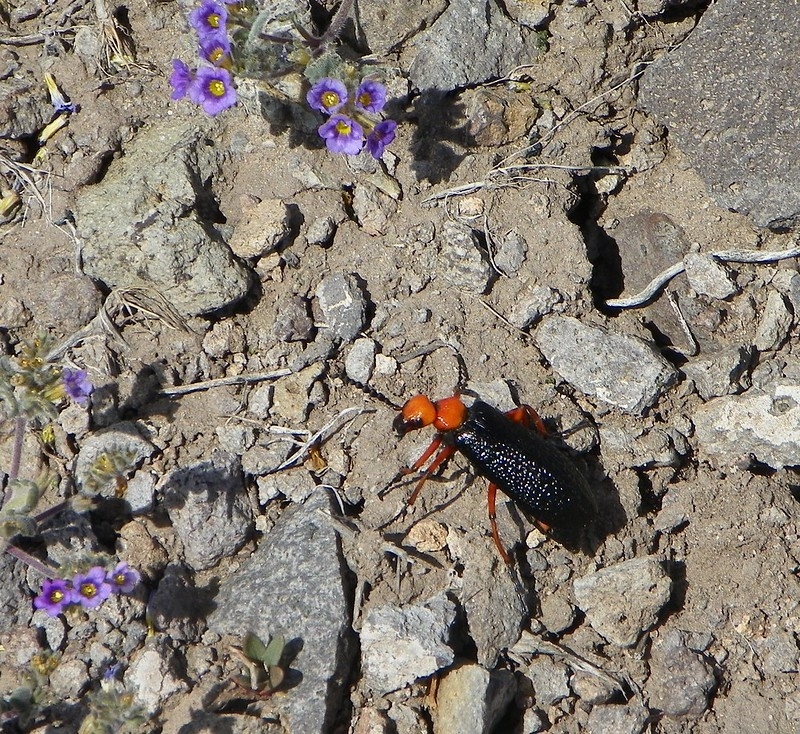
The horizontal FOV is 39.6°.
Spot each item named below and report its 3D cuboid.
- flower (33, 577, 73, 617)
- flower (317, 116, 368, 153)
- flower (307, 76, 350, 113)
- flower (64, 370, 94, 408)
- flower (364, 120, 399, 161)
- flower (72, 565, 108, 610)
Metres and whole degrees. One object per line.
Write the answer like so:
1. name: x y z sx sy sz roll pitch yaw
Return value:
1. flower: -1.703 1.134 5.478 0.163 0.171 0.084 28 -5 5
2. flower: -0.298 -1.193 5.719 0.217 0.173 0.203 8 -7 4
3. flower: -0.371 -1.383 5.661 0.193 0.170 0.153 18 -6 5
4. flower: -1.650 0.101 5.630 0.066 0.184 0.178 -22 21 16
5. flower: -0.108 -1.171 5.777 0.162 0.188 0.061 -23 34 -31
6. flower: -1.540 1.104 5.497 0.164 0.199 0.084 12 -4 -6
